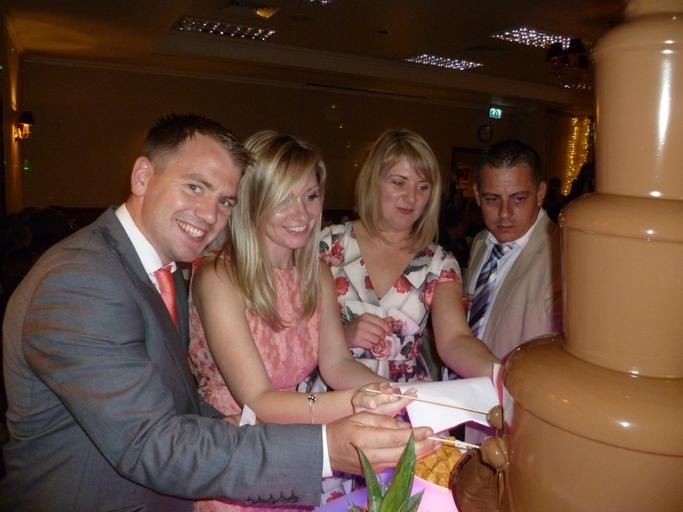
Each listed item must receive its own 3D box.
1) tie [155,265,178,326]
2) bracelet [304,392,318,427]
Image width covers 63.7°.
[{"bbox_3d":[-0.531,0.132,1.715,0.031,0.242,0.050,5,24,26],"label":"tie"},{"bbox_3d":[-0.087,0.430,1.577,0.022,0.070,0.048,3,5,8],"label":"bracelet"}]
